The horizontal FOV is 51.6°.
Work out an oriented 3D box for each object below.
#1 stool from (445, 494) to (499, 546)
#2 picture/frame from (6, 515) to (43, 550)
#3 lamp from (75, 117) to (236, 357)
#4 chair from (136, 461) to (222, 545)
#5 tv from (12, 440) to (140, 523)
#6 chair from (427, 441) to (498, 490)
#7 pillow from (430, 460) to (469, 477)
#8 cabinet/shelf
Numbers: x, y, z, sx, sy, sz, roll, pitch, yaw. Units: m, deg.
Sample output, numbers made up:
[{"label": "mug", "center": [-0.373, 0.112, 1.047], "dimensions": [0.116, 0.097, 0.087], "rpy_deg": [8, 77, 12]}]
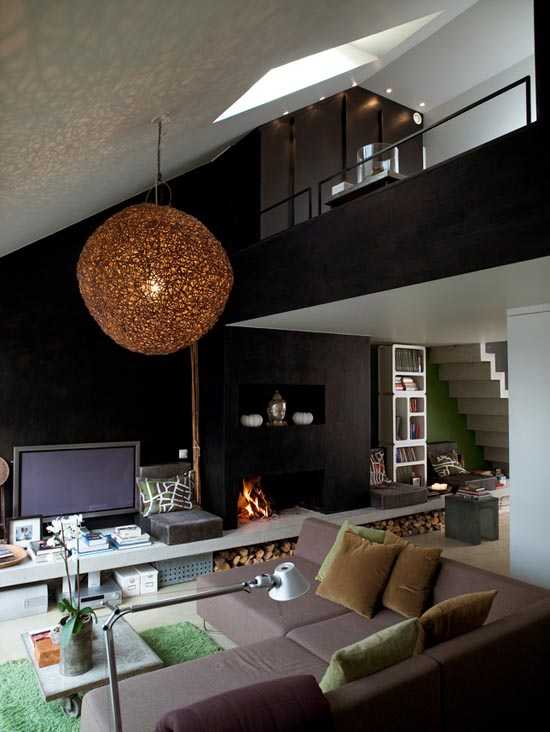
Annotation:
[{"label": "stool", "center": [2.208, 1.636, 6.258], "dimensions": [0.523, 0.550, 0.517], "rpy_deg": [2, -6, -35]}, {"label": "picture/frame", "center": [-2.016, 1.318, 4.457], "dimensions": [0.232, 0.267, 0.020], "rpy_deg": [1, -8, -39]}, {"label": "lamp", "center": [-0.735, -0.678, 3.612], "dimensions": [1.040, 1.972, 1.025], "rpy_deg": [-2, 7, -20]}, {"label": "chair", "center": [-0.895, 1.187, 5.014], "dimensions": [0.591, 0.567, 0.658], "rpy_deg": [2, -6, -35]}, {"label": "tv", "center": [-1.689, 0.976, 4.816], "dimensions": [1.064, 0.668, 0.047], "rpy_deg": [-2, -3, -36]}, {"label": "chair", "center": [2.485, 1.359, 7.603], "dimensions": [0.644, 0.482, 0.635], "rpy_deg": [1, -4, -36]}, {"label": "pillow", "center": [2.367, 1.398, 7.639], "dimensions": [0.341, 0.239, 0.109], "rpy_deg": [1, -36, -24]}, {"label": "cabinet/shelf", "center": [1.715, 0.648, 7.465], "dimensions": [0.740, 1.867, 0.389], "rpy_deg": [-2, -3, -25]}]
